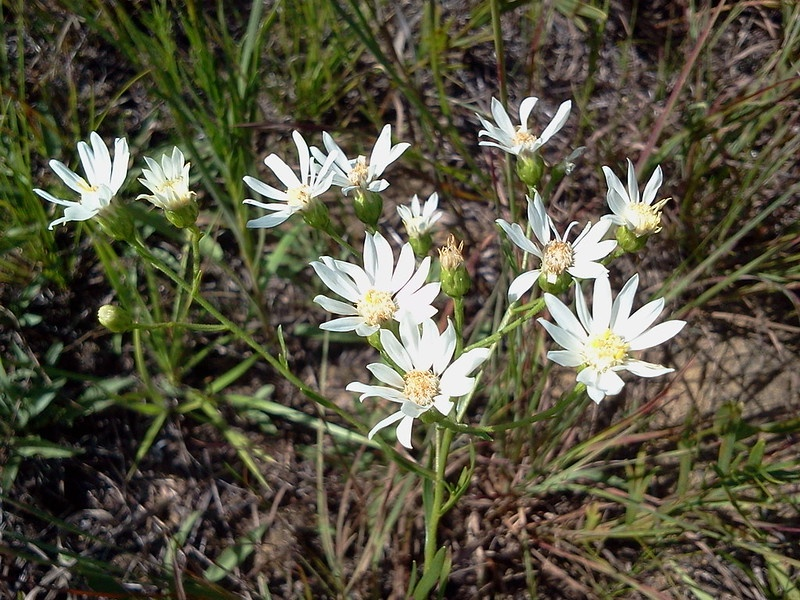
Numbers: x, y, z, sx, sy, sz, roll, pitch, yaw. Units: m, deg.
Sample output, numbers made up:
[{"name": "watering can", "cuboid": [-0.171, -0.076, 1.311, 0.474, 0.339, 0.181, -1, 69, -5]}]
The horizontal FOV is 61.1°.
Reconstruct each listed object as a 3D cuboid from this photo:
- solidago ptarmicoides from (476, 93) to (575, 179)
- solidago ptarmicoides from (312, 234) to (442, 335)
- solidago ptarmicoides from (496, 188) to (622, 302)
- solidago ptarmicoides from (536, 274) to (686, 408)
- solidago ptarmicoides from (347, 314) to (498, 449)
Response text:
[{"name": "solidago ptarmicoides", "cuboid": [0.521, -0.644, 2.910, 0.451, 0.455, 0.340, -4, 79, 4]}, {"name": "solidago ptarmicoides", "cuboid": [-0.020, -0.086, 2.835, 0.637, 0.603, 0.264, -1, 92, 36]}, {"name": "solidago ptarmicoides", "cuboid": [0.643, -0.180, 2.689, 0.499, 0.543, 0.248, -2, 70, 40]}, {"name": "solidago ptarmicoides", "cuboid": [0.772, 0.159, 2.594, 0.458, 0.191, 0.505, -36, 30, 5]}, {"name": "solidago ptarmicoides", "cuboid": [0.066, 0.274, 2.523, 0.483, 0.530, 0.209, -24, 107, 4]}]
